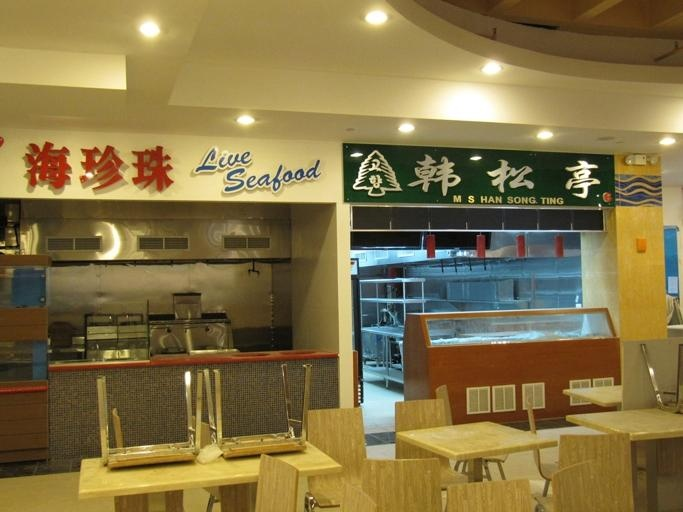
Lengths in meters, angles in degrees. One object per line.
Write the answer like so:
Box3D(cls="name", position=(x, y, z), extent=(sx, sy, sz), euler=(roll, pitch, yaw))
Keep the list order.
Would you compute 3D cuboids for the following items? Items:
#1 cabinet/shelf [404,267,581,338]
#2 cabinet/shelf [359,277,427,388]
Box3D(cls="cabinet/shelf", position=(2.492, 0.483, 9.180), extent=(2.459, 0.842, 0.498), euler=(-3, -3, 35))
Box3D(cls="cabinet/shelf", position=(0.963, 1.442, 11.027), extent=(0.669, 1.989, 2.335), euler=(-2, -2, -18))
